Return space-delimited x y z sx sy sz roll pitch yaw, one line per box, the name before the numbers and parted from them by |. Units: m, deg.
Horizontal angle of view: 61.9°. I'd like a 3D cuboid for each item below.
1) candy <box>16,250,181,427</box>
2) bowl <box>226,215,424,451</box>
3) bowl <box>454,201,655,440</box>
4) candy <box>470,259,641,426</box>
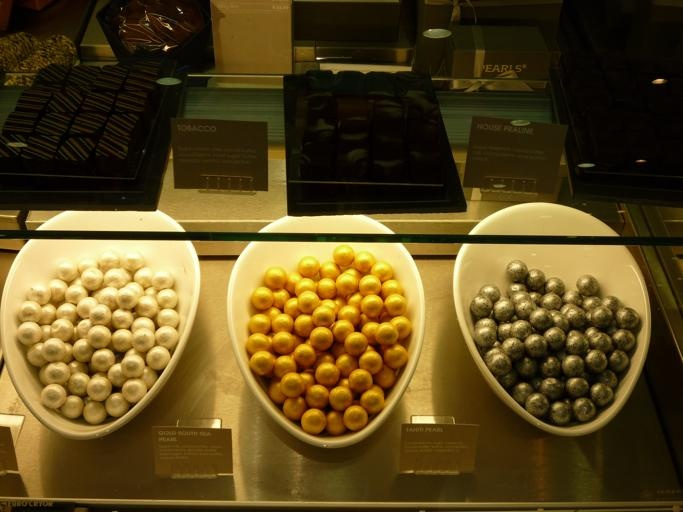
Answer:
candy | -0.417 0.141 1.010 0.237 0.146 0.277 1 54 -8
bowl | -0.061 0.084 0.912 0.324 0.147 0.417 1 55 -3
bowl | 0.387 0.085 1.051 0.332 0.173 0.418 -14 68 -10
candy | 0.359 0.168 1.016 0.230 0.136 0.250 -10 43 -10
